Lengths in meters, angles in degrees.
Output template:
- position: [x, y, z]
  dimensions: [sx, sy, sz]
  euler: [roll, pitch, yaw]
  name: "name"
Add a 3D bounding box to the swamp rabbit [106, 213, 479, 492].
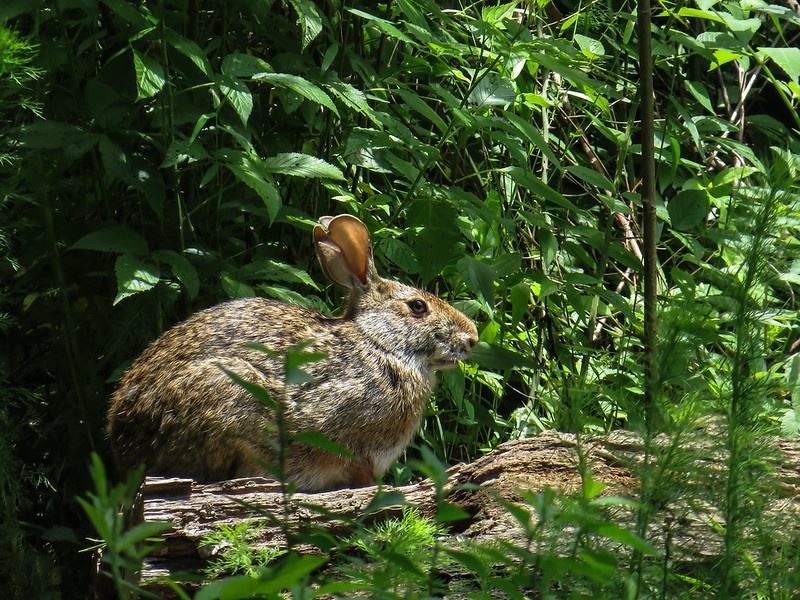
- position: [-0.309, 0.151, 3.085]
  dimensions: [0.955, 0.967, 0.463]
  euler: [17, -11, -33]
  name: "swamp rabbit"
